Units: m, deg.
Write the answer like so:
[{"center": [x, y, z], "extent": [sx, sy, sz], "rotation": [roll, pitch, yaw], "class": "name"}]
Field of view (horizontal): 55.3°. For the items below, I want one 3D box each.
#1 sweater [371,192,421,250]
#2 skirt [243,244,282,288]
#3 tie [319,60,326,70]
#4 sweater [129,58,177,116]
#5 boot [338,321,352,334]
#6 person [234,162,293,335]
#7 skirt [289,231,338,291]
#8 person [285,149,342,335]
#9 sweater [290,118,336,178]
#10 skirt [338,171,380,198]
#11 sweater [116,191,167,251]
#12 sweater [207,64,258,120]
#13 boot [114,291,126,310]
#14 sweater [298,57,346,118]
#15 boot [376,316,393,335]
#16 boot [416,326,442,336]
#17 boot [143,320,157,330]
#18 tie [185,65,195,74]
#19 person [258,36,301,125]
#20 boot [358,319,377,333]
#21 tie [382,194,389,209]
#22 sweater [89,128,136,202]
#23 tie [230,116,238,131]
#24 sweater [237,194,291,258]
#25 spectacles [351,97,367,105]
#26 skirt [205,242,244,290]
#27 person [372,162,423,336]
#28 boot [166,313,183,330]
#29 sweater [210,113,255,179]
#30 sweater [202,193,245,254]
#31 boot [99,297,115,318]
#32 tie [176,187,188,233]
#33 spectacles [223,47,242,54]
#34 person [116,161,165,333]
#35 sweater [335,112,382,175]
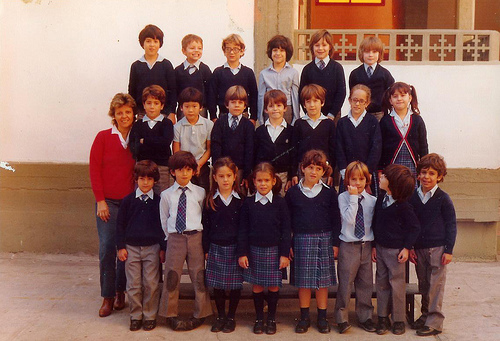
[{"center": [1.564, 0.623, 5.382], "extent": [0.658, 0.664, 0.303], "rotation": [0, -9, 39], "class": "sweater"}, {"center": [0.144, 1.054, 5.320], "extent": [0.436, 0.427, 0.251], "rotation": [2, -7, 5], "class": "skirt"}, {"center": [0.935, -1.353, 6.181], "extent": [0.097, 0.093, 0.027], "rotation": [-2, -11, 21], "class": "tie"}, {"center": [-1.245, -1.074, 6.152], "extent": [0.610, 0.712, 0.398], "rotation": [-2, 11, -11], "class": "sweater"}, {"center": [1.021, 1.696, 5.169], "extent": [0.059, 0.075, 0.175], "rotation": [-37, -12, -24], "class": "boot"}, {"center": [0.151, 0.828, 5.314], "extent": [0.630, 1.783, 0.687], "rotation": [2, 11, 11], "class": "person"}, {"center": [0.690, 0.987, 5.246], "extent": [0.595, 0.670, 0.361], "rotation": [1, -9, -6], "class": "skirt"}, {"center": [0.720, 0.770, 5.282], "extent": [0.636, 1.927, 0.648], "rotation": [-1, 11, -4], "class": "person"}, {"center": [0.727, -0.261, 5.635], "extent": [0.688, 0.972, 0.318], "rotation": [1, 0, -3], "class": "sweater"}, {"center": [1.337, 0.186, 5.878], "extent": [0.430, 0.453, 0.322], "rotation": [0, 6, 2], "class": "skirt"}, {"center": [-1.211, 0.598, 5.397], "extent": [0.628, 0.743, 0.314], "rotation": [0, -6, -6], "class": "sweater"}, {"center": [-0.224, -1.012, 6.228], "extent": [0.643, 0.691, 0.344], "rotation": [-1, 11, -5], "class": "sweater"}, {"center": [-1.558, 1.546, 5.737], "extent": [0.136, 0.215, 0.134], "rotation": [-3, 11, -16], "class": "boot"}, {"center": [0.952, -1.084, 6.252], "extent": [0.579, 0.718, 0.307], "rotation": [6, 12, 30], "class": "sweater"}, {"center": [1.450, 1.685, 5.195], "extent": [0.093, 0.171, 0.250], "rotation": [-12, -12, 24], "class": "boot"}, {"center": [1.940, 1.735, 5.191], "extent": [0.243, 0.100, 0.092], "rotation": [3, -1, -2], "class": "boot"}, {"center": [-1.102, 1.703, 5.267], "extent": [0.134, 0.087, 0.089], "rotation": [-3, 11, -15], "class": "boot"}, {"center": [-0.794, -1.328, 6.331], "extent": [0.097, 0.104, 0.012], "rotation": [2, -15, 8], "class": "tie"}, {"center": [0.393, -0.983, 6.408], "extent": [0.538, 1.558, 0.385], "rotation": [4, 16, 12], "class": "person"}, {"center": [1.303, 1.704, 5.258], "extent": [0.087, 0.076, 0.174], "rotation": [-15, 12, -36], "class": "boot"}, {"center": [1.489, 0.352, 5.290], "extent": [0.025, 0.109, 0.079], "rotation": [11, 9, 4], "class": "tie"}, {"center": [-1.629, -0.065, 5.716], "extent": [0.527, 0.827, 0.293], "rotation": [-3, 11, -16], "class": "sweater"}, {"center": [-0.200, -0.559, 5.764], "extent": [0.090, 0.126, 0.034], "rotation": [0, -5, 4], "class": "tie"}, {"center": [0.164, 0.644, 5.269], "extent": [0.633, 0.752, 0.319], "rotation": [0, -10, 2], "class": "sweater"}, {"center": [1.301, -0.829, 5.735], "extent": [0.173, 0.086, 0.045], "rotation": [2, 11, 8], "class": "spectacles"}, {"center": [-0.268, 1.061, 5.278], "extent": [0.461, 0.512, 0.289], "rotation": [1, -11, 5], "class": "skirt"}, {"center": [1.570, 0.856, 5.201], "extent": [0.504, 1.762, 0.507], "rotation": [3, 11, 15], "class": "person"}, {"center": [-0.832, 1.685, 5.303], "extent": [0.151, 0.110, 0.202], "rotation": [-4, 12, -22], "class": "boot"}, {"center": [-0.208, -0.281, 5.765], "extent": [0.542, 0.745, 0.346], "rotation": [0, 11, -2], "class": "sweater"}, {"center": [-0.299, 0.622, 5.327], "extent": [0.625, 0.834, 0.329], "rotation": [1, -7, -4], "class": "sweater"}, {"center": [-1.675, 1.580, 5.601], "extent": [0.114, 0.199, 0.235], "rotation": [4, 11, 19], "class": "boot"}, {"center": [-0.761, 0.435, 5.336], "extent": [0.124, 0.456, 0.202], "rotation": [-2, 11, -8], "class": "tie"}, {"center": [-0.221, -1.548, 6.207], "extent": [0.221, 0.080, 0.081], "rotation": [-1, 11, -8], "class": "spectacles"}, {"center": [-1.230, 0.814, 5.405], "extent": [0.515, 1.794, 0.715], "rotation": [-4, 11, -20], "class": "person"}, {"center": [1.304, -0.329, 5.752], "extent": [0.549, 0.686, 0.308], "rotation": [3, 11, 14], "class": "sweater"}]
